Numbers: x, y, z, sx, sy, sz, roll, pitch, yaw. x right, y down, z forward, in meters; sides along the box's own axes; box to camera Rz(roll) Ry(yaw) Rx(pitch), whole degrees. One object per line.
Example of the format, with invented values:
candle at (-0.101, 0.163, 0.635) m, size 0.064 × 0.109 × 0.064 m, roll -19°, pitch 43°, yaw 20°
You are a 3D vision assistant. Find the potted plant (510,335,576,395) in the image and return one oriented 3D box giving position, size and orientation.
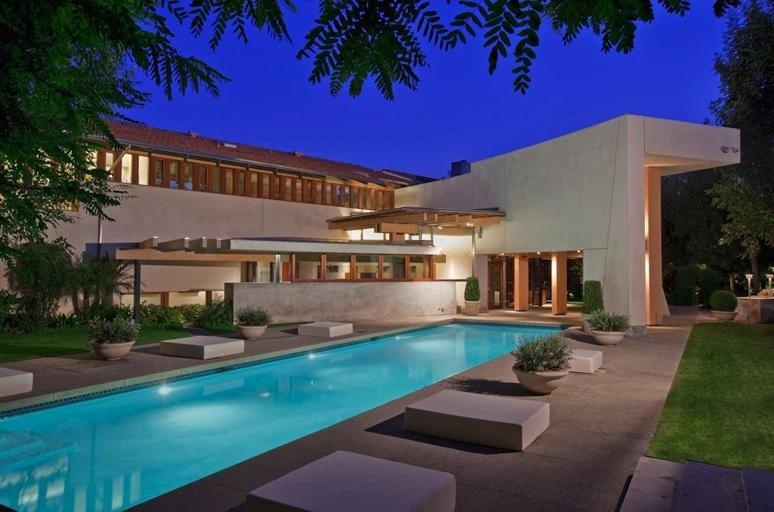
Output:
potted plant at (2.987, 2.100, 9.852) m, size 0.995 × 1.073 × 1.120 m, roll 3°, pitch -5°, yaw -34°

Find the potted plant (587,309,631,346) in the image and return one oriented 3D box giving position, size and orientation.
potted plant at (6.695, 2.153, 15.738) m, size 1.266 × 0.861 × 1.219 m, roll 0°, pitch -5°, yaw -2°

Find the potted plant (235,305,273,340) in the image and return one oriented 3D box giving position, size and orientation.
potted plant at (-4.430, 2.222, 16.691) m, size 1.187 × 1.072 × 1.158 m, roll 3°, pitch -7°, yaw -31°

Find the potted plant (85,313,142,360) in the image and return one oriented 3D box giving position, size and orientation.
potted plant at (-6.907, 2.062, 12.881) m, size 1.184 × 1.068 × 1.153 m, roll -3°, pitch -4°, yaw 42°

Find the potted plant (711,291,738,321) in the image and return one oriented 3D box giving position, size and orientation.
potted plant at (14.315, 2.109, 21.686) m, size 1.242 × 1.326 × 1.161 m, roll -2°, pitch -4°, yaw 26°
